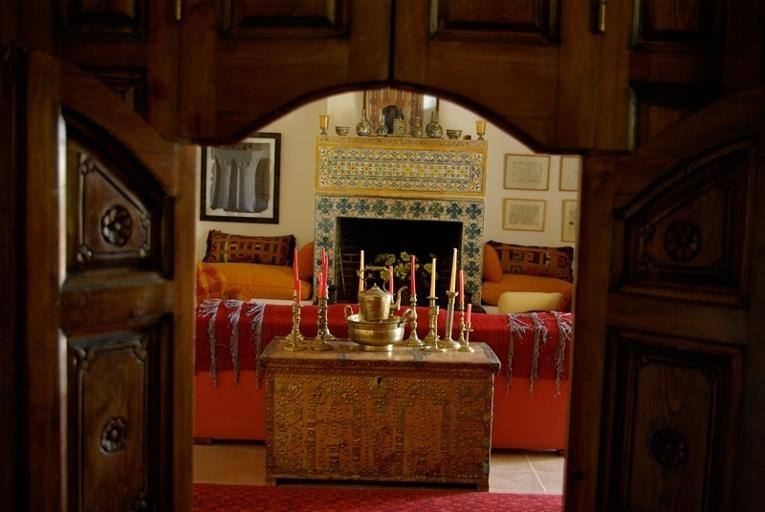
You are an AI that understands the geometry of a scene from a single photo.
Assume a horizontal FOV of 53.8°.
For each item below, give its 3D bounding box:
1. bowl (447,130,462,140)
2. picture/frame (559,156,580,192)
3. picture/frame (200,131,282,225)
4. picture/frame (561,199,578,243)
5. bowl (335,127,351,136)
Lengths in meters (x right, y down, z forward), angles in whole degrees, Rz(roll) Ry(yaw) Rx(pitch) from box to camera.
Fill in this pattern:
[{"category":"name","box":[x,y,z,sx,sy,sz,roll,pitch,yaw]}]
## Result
[{"category":"bowl","box":[0.725,-1.226,7.615,0.102,0.067,0.108,-2,13,0]},{"category":"picture/frame","box":[2.015,-0.900,8.171,0.180,0.406,0.489,1,-5,9]},{"category":"picture/frame","box":[-1.409,-0.787,7.551,0.944,1.222,0.040,1,9,-4]},{"category":"picture/frame","box":[2.068,-0.379,8.387,0.156,0.488,0.354,0,-5,19]},{"category":"bowl","box":[-0.408,-1.249,7.583,0.112,0.072,0.116,2,6,0]}]
